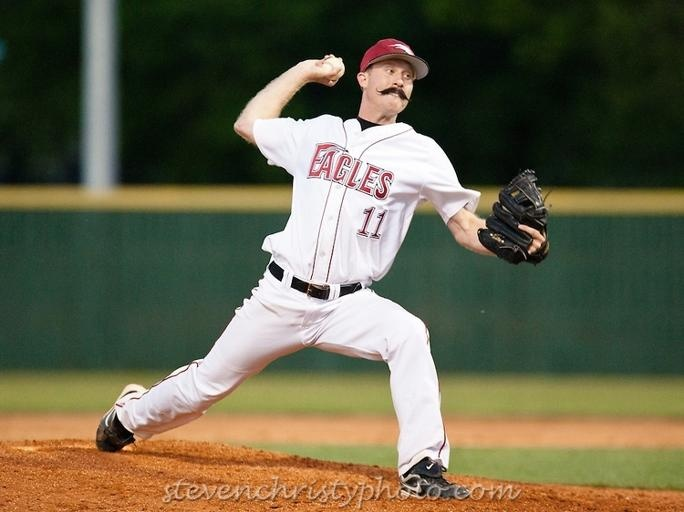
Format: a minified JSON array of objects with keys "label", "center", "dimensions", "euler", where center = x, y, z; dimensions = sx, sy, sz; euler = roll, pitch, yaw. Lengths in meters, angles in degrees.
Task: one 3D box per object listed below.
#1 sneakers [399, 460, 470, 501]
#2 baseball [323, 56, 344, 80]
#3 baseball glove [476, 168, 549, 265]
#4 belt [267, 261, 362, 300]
[{"label":"sneakers","center":[0.641,1.610,8.120],"dimensions":[0.563,0.295,0.191],"euler":[-6,-12,32]},{"label":"baseball","center":[-0.081,-1.424,8.709],"dimensions":[0.140,0.203,0.083],"euler":[5,7,-4]},{"label":"baseball glove","center":[1.362,-0.371,8.285],"dimensions":[0.337,0.502,0.657],"euler":[46,-19,-19]},{"label":"belt","center":[-0.199,0.193,8.312],"dimensions":[0.707,0.269,0.209],"euler":[3,0,0]}]
